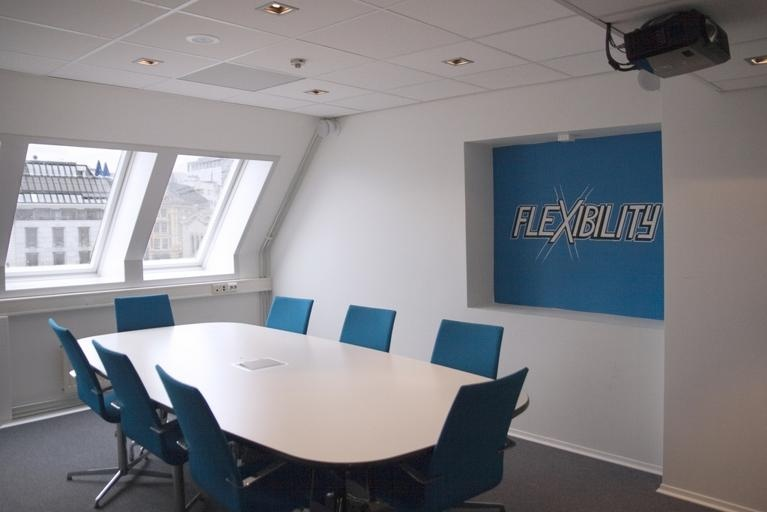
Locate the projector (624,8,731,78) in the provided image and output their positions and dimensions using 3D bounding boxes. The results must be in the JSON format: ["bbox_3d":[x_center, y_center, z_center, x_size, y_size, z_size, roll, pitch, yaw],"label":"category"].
[{"bbox_3d":[1.856,-1.349,3.218,0.387,0.230,0.498,1,2,-45],"label":"projector"}]
